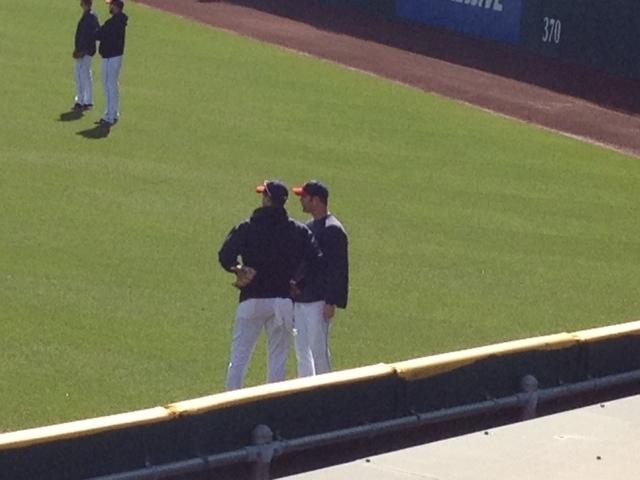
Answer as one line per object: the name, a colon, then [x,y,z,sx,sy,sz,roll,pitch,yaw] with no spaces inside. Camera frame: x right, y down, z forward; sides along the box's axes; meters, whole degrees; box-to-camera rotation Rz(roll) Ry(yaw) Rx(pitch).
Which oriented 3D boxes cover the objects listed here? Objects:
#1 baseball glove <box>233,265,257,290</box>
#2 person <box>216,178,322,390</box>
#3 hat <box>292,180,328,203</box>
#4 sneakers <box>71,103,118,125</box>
baseball glove: [-0.962,0.456,18.474,0.269,0.269,0.216,-14,14,-28]
person: [-0.668,0.686,18.937,1.235,3.123,1.052,4,13,0]
hat: [-0.111,-0.670,18.933,0.369,0.222,0.264,9,7,1]
sneakers: [-3.570,-2.059,23.367,0.467,0.206,0.146,29,15,1]
